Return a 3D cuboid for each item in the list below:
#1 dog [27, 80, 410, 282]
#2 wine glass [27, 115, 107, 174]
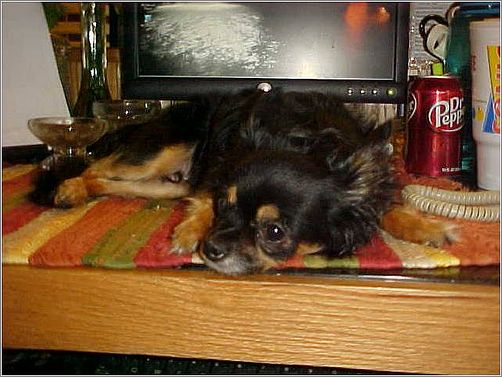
[{"bbox_3d":[-0.091,-0.051,1.378,0.901,0.365,0.623,4,20,1],"label":"dog"},{"bbox_3d":[-0.616,-0.165,1.523,0.226,0.138,0.221,3,7,7],"label":"wine glass"}]
